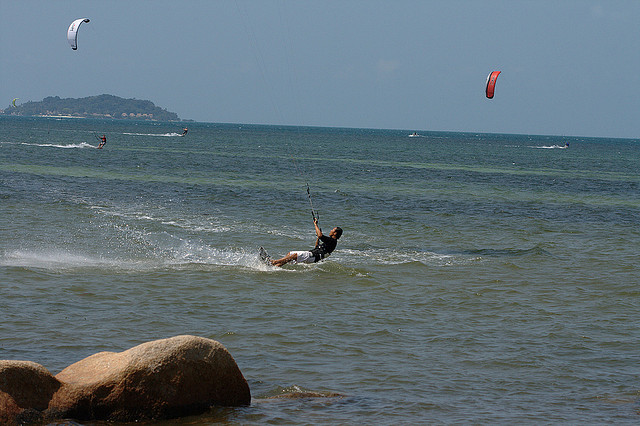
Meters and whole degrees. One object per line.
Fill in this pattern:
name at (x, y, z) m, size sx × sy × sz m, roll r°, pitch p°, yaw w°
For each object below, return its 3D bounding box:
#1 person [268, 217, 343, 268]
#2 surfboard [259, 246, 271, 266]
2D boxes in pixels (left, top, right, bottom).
person at (-0.508, 0.992, 32.335) m, size 2.650 × 1.287 × 0.900 m, roll -8°, pitch -9°, yaw 14°
surfboard at (-1.684, 1.329, 31.418) m, size 0.193 × 0.785 × 0.143 m, roll -25°, pitch 43°, yaw -3°
